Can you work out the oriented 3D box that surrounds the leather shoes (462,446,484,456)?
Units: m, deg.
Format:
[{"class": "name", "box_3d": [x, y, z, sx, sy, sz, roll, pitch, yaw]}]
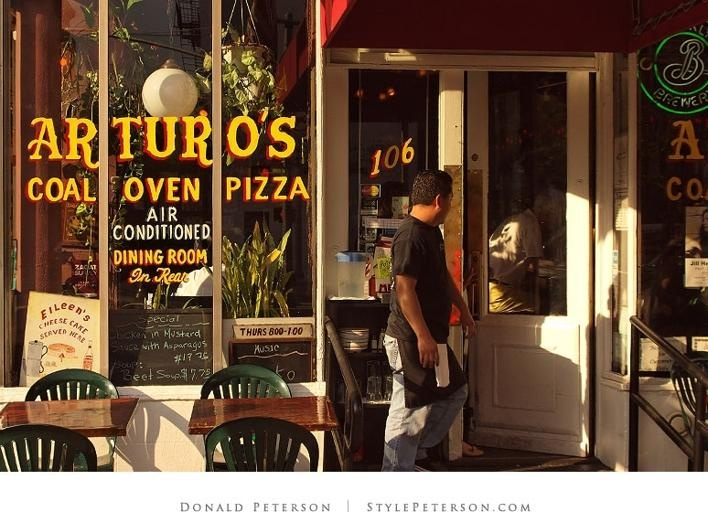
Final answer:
[{"class": "leather shoes", "box_3d": [1.076, 1.773, 7.316, 0.164, 0.044, 0.087, 1, 14, 3]}]

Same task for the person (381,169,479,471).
[{"class": "person", "box_3d": [0.509, 0.483, 6.058, 0.647, 2.239, 0.350, -1, 1, -4]}]

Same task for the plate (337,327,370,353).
[{"class": "plate", "box_3d": [0.010, 0.734, 7.012, 0.189, 0.132, 0.202, -1, 2, 5]}]

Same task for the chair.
[{"class": "chair", "box_3d": [-1.593, 1.473, 6.746, 2.705, 0.574, 0.304, -2, 1, -4]}]

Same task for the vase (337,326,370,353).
[{"class": "vase", "box_3d": [-0.002, 0.735, 7.013, 0.189, 0.132, 0.203, 1, 2, 7]}]

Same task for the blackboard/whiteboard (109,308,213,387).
[{"class": "blackboard/whiteboard", "box_3d": [-1.692, 0.808, 6.849, 0.588, 0.478, 0.066, 0, -7, -4]}]
